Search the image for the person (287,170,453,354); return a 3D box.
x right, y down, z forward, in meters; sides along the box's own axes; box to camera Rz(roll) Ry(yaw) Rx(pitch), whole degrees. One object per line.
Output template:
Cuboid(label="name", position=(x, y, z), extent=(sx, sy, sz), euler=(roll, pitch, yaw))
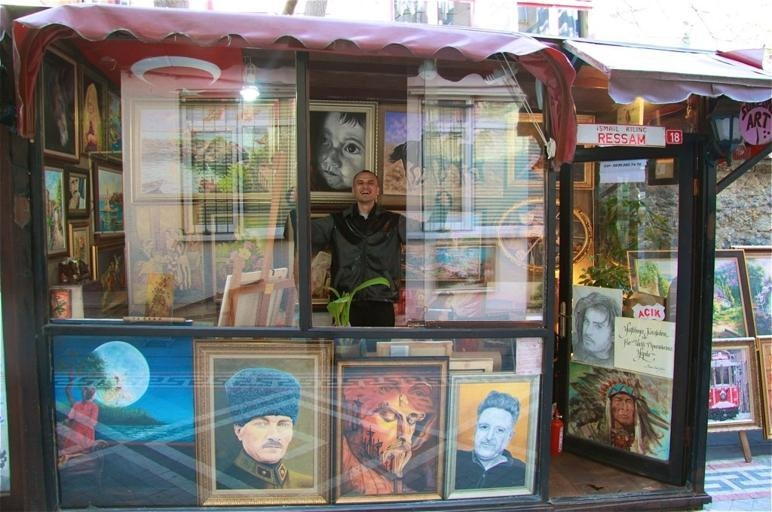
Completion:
Cuboid(label="person", position=(-0.110, 0.097, 6.160), extent=(1.383, 1.731, 0.451), euler=(-1, -18, 0))

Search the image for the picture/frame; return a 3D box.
Cuboid(label="picture/frame", position=(-0.050, 0.138, 6.093), extent=(3.991, 2.784, 1.484), euler=(0, -1, -8))
